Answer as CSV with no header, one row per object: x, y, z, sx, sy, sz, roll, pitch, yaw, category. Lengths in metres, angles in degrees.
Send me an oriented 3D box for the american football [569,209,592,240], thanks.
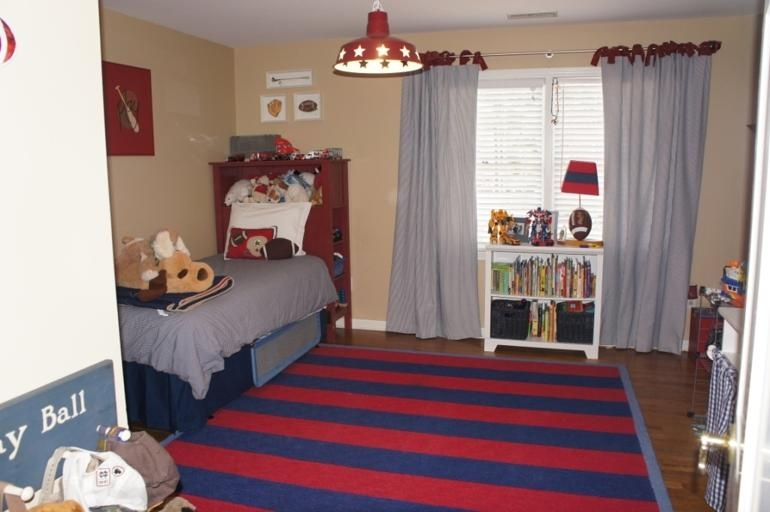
1.745,-0.281,5.216,0.222,0.340,0.223,0,-23,25,american football

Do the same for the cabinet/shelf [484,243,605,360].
1.429,0.405,5.127,0.985,0.914,0.331,1,3,13,cabinet/shelf

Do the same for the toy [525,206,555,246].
1.397,-0.262,5.167,0.336,0.428,0.288,0,3,25,toy

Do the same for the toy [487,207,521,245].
1.128,-0.269,5.289,0.321,0.320,0.309,3,-4,0,toy

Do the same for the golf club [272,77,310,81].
-0.911,-1.767,5.796,0.374,0.035,0.009,3,9,16,golf club

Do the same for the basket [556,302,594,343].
1.697,0.601,5.167,0.308,0.285,0.238,-1,11,3,basket

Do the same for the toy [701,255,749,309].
2.503,0.174,4.254,0.481,0.269,0.383,-5,8,16,toy

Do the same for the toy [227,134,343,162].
-1.038,-1.082,5.754,1.152,0.270,0.464,4,9,22,toy

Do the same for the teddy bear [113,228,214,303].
-1.576,0.080,4.035,0.619,0.283,0.439,4,25,7,teddy bear

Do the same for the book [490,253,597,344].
1.416,0.394,5.136,0.794,0.765,0.264,1,4,13,book

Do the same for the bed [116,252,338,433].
-1.469,0.488,4.858,1.479,0.832,2.164,6,11,16,bed

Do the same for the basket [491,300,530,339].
1.155,0.557,5.295,0.327,0.244,0.328,2,4,18,basket

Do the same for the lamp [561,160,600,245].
1.713,-0.483,5.115,0.293,0.709,0.429,3,9,17,lamp
